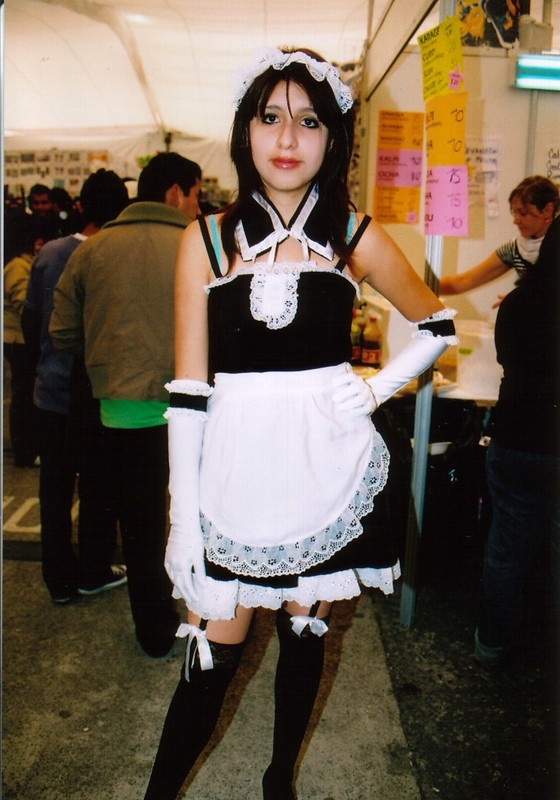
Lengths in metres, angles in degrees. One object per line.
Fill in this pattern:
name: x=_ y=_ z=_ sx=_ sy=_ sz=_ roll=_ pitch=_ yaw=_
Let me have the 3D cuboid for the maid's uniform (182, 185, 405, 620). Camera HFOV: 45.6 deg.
maid's uniform: x=0.013 y=0.051 z=1.543 sx=0.396 sy=0.942 sz=0.443 roll=1 pitch=24 yaw=-9

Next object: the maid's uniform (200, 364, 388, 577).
maid's uniform: x=-0.013 y=0.139 z=1.579 sx=0.584 sy=0.615 sz=0.347 roll=-4 pitch=6 yaw=-14

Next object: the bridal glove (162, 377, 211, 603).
bridal glove: x=-0.202 y=0.197 z=1.442 sx=0.109 sy=0.442 sz=0.111 roll=8 pitch=24 yaw=10

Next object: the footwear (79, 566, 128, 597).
footwear: x=-0.791 y=0.820 z=3.008 sx=0.217 sy=0.063 sz=0.143 roll=-19 pitch=-21 yaw=-40
